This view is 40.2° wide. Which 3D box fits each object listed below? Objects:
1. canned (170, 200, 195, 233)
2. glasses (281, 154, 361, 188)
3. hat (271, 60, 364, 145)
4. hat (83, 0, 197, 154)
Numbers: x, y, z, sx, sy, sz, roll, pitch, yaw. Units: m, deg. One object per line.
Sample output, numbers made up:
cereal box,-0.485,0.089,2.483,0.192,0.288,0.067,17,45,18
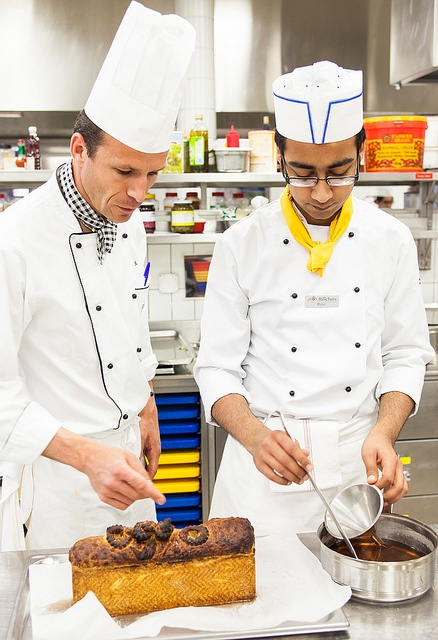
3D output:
canned,-0.164,-0.466,2.726,0.112,0.140,0.128,0,4,0
glasses,0.208,-0.293,1.233,0.146,0.034,0.086,0,19,7
hat,0.197,-0.450,1.237,0.186,0.160,0.202,1,19,12
hat,-0.148,-0.460,1.150,0.223,0.269,0.147,-7,19,-11
